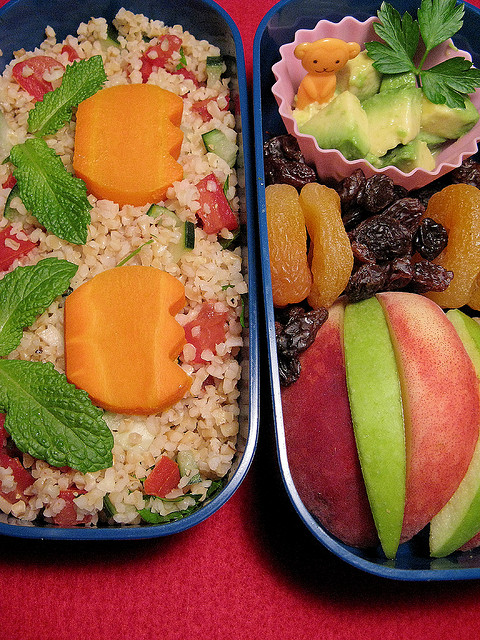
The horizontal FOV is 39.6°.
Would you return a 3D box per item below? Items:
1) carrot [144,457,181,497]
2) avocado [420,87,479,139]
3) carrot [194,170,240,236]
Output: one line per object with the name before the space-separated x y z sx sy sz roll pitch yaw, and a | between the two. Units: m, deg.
carrot | -0.173 0.360 1.510 0.058 0.049 0.090 35 67 17
avocado | 0.551 -0.550 1.763 0.138 0.111 0.074 -25 36 -38
carrot | -0.063 -0.287 1.670 0.125 0.039 0.146 -11 94 -14
